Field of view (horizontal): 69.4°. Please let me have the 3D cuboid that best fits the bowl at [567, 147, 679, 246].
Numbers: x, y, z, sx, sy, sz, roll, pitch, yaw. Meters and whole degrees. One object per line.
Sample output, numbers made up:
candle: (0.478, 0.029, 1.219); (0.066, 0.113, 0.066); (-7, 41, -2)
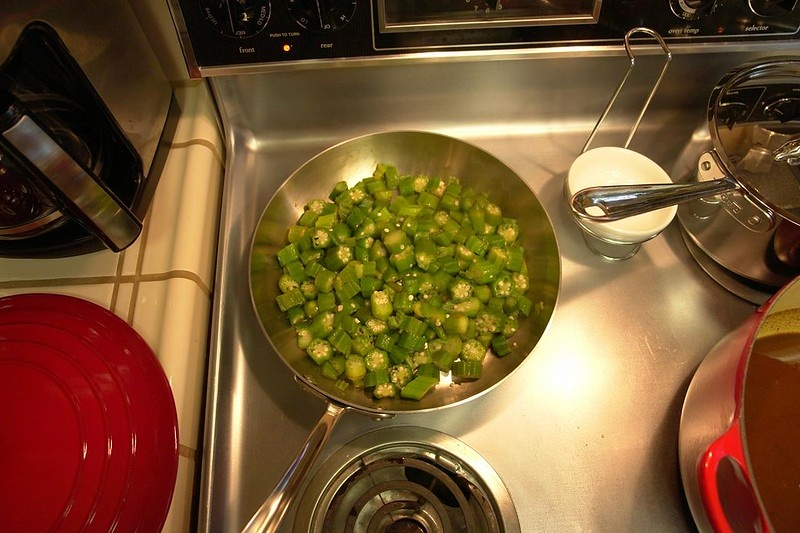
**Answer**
bowl: (0.604, -0.227, 1.553); (0.276, 0.120, 0.297); (-1, 73, 3)
